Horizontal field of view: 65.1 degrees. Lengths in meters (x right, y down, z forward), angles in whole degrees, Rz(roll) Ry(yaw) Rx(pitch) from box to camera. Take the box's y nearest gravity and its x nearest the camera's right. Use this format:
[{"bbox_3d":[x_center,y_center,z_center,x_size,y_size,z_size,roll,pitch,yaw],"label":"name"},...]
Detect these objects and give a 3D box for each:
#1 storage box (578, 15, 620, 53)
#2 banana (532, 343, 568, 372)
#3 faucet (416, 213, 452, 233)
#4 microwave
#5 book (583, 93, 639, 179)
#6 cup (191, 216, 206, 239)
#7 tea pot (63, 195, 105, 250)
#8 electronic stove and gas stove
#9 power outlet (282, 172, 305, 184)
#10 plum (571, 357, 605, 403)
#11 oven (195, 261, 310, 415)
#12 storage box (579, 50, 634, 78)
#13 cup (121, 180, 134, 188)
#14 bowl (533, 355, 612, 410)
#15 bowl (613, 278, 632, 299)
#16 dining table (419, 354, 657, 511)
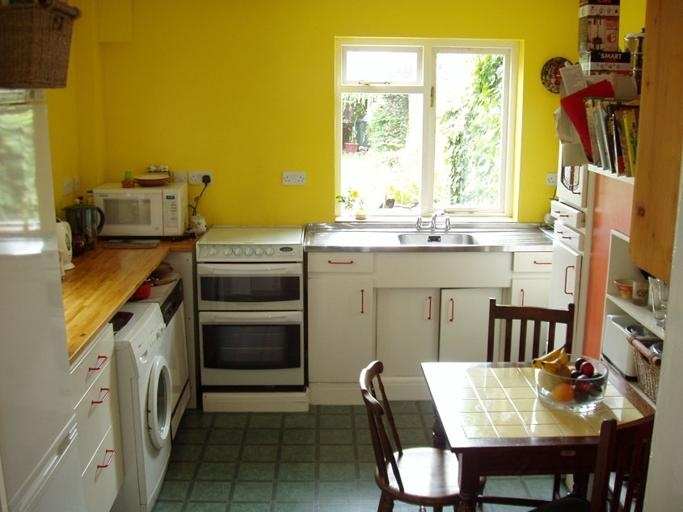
[{"bbox_3d":[1.139,-0.987,2.415,0.154,0.153,0.152,0,7,5],"label":"storage box"},{"bbox_3d":[0.911,0.434,2.331,0.082,0.142,0.090,20,-20,49],"label":"banana"},{"bbox_3d":[0.746,-0.269,4.297,0.179,0.079,0.184,1,19,8],"label":"faucet"},{"bbox_3d":[-1.436,-0.321,3.854,0.616,0.410,0.350,0,8,0],"label":"microwave"},{"bbox_3d":[1.093,-0.496,2.221,0.152,0.304,0.299,0,14,5],"label":"book"},{"bbox_3d":[-1.075,-0.219,4.062,0.149,0.223,0.133,1,5,-8],"label":"cup"},{"bbox_3d":[-1.749,-0.201,3.653,0.323,0.332,0.227,-1,7,-30],"label":"tea pot"},{"bbox_3d":[-0.645,-0.090,3.937,0.748,0.154,0.510,-1,14,-1],"label":"electronic stove and gas stove"},{"bbox_3d":[-0.372,-0.612,4.200,0.148,0.098,0.035,2,9,-2],"label":"power outlet"},{"bbox_3d":[1.022,0.508,2.269,0.155,0.134,0.181,0,18,11],"label":"plum"},{"bbox_3d":[-0.638,0.532,4.091,0.927,1.346,0.974,-1,5,-3],"label":"oven"},{"bbox_3d":[1.187,-0.866,2.395,0.210,0.112,0.154,2,15,12],"label":"storage box"},{"bbox_3d":[-1.576,-0.526,3.933,0.063,0.044,0.064,1,3,0],"label":"cup"},{"bbox_3d":[0.979,0.531,2.249,0.227,0.129,0.219,-1,11,0],"label":"bowl"},{"bbox_3d":[1.465,0.166,2.796,0.085,0.063,0.105,0,11,-15],"label":"bowl"},{"bbox_3d":[0.722,0.482,2.246,0.731,0.447,0.745,0,11,0],"label":"dining table"}]
